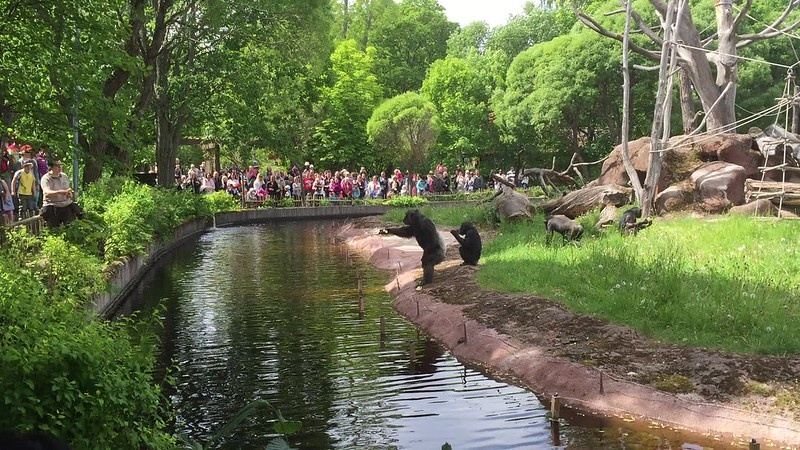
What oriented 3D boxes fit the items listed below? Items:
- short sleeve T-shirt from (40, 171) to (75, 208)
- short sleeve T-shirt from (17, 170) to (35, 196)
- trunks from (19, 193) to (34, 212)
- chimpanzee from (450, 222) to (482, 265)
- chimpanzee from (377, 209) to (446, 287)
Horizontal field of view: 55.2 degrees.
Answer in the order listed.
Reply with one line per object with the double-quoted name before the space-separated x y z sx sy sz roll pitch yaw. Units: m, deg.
"short sleeve T-shirt" -10.196 -1.024 22.545 0.742 1.063 1.000 12 15 28
"short sleeve T-shirt" -12.231 -1.381 24.944 0.236 0.832 0.486 6 13 42
"trunks" -12.165 -0.748 24.899 0.432 0.517 0.824 -6 10 -25
"chimpanzee" 2.097 0.575 23.470 0.633 1.364 0.988 -1 9 9
"chimpanzee" 0.599 0.683 22.680 1.402 2.214 0.844 -2 9 -2
